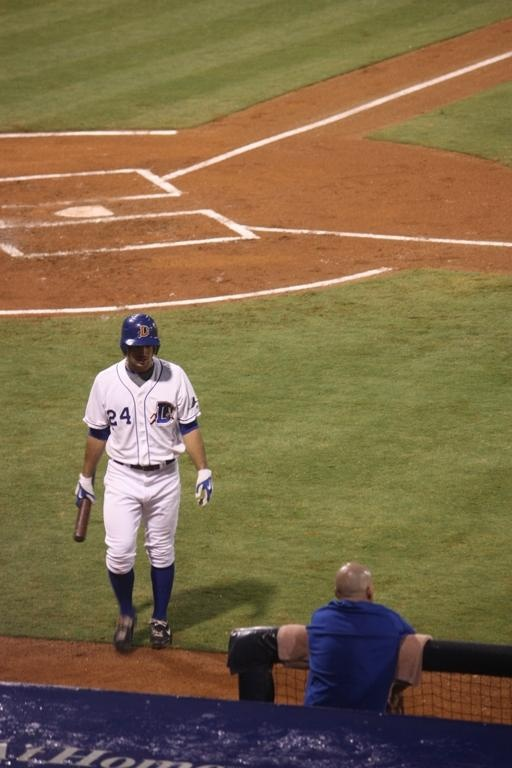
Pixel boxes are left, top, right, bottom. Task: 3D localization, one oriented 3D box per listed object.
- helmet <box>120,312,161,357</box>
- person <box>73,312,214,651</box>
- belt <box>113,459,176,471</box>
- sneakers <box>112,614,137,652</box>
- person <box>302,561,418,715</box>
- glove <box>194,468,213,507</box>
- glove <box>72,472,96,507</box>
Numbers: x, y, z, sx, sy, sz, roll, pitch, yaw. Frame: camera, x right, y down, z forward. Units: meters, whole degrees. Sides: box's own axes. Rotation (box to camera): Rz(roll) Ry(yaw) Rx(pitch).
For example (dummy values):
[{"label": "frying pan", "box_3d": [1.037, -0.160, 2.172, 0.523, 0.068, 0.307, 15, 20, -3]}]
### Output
[{"label": "helmet", "box_3d": [-0.874, -0.391, 13.898, 0.209, 0.276, 0.308, -1, 11, -11]}, {"label": "person", "box_3d": [-0.852, 0.751, 14.025, 0.985, 2.580, 0.381, 1, 5, -7]}, {"label": "belt", "box_3d": [-0.833, 0.608, 13.968, 0.467, 0.095, 0.122, 0, 5, -13]}, {"label": "sneakers", "box_3d": [-0.976, 1.894, 14.146, 0.133, 0.297, 0.281, 8, 13, 0]}, {"label": "person", "box_3d": [0.695, 1.708, 12.505, 0.694, 0.931, 0.342, 2, 5, 4]}, {"label": "glove", "box_3d": [-0.425, 0.769, 14.137, 0.150, 0.292, 0.074, 18, -18, -39]}, {"label": "glove", "box_3d": [-1.307, 0.799, 14.178, 0.162, 0.254, 0.103, 0, -1, 5]}]
